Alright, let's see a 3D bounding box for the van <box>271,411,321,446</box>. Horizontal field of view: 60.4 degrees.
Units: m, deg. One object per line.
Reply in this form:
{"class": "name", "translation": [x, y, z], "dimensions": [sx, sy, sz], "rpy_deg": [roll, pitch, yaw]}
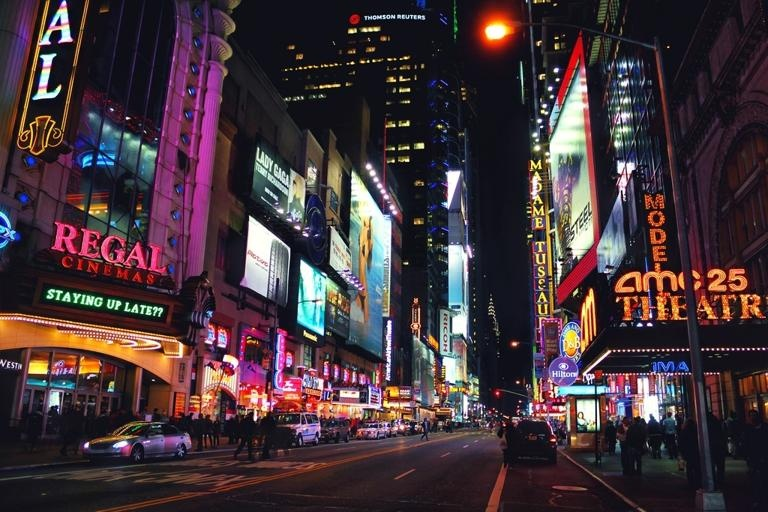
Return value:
{"class": "van", "translation": [-6.203, 12.543, 48.059], "dimensions": [2.188, 1.847, 4.085], "rpy_deg": [-8, -27, 15]}

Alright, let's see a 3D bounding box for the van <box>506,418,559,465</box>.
{"class": "van", "translation": [8.230, 10.265, 36.545], "dimensions": [1.842, 1.602, 3.349], "rpy_deg": [-1, -9, 10]}

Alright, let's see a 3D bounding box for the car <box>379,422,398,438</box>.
{"class": "car", "translation": [0.590, 18.464, 70.170], "dimensions": [1.205, 0.990, 2.848], "rpy_deg": [-1, -12, 9]}
